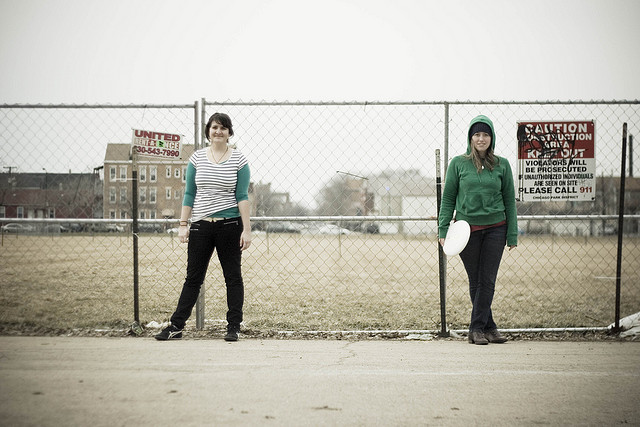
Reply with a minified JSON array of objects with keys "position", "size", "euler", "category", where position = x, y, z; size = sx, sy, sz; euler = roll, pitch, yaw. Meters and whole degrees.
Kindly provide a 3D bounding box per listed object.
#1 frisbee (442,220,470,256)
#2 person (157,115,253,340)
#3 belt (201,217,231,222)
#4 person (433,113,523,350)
[{"position":[1.608,0.294,9.182],"size":[0.342,0.409,0.310],"euler":[-1,0,24],"category":"frisbee"},{"position":[-1.263,0.165,9.157],"size":[0.940,2.642,0.266],"euler":[-1,-1,6],"category":"person"},{"position":[-1.228,0.082,9.038],"size":[0.228,0.052,0.023],"euler":[-1,0,-2],"category":"belt"},{"position":[1.874,0.193,9.202],"size":[0.918,2.713,0.452],"euler":[-1,-1,12],"category":"person"}]
